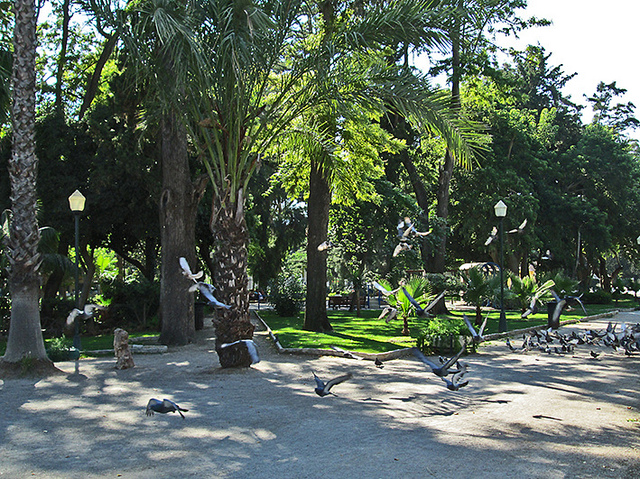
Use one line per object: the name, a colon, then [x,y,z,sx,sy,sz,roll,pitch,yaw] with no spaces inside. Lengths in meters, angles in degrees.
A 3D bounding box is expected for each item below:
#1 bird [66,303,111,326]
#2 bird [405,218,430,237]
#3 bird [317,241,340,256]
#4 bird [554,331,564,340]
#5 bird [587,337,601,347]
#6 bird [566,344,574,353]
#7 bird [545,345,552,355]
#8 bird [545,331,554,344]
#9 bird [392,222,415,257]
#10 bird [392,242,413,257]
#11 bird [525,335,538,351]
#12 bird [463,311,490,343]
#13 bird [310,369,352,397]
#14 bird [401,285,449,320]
bird: [-8.355,2.736,24.894,1.208,0.465,0.803,-21,-15,-38]
bird: [4.312,-0.556,30.793,0.351,1.030,0.934,-42,15,-11]
bird: [0.163,0.283,25.003,0.744,0.530,0.332,-17,23,-42]
bird: [8.497,3.416,24.690,0.331,0.294,0.831,19,0,13]
bird: [9.239,3.458,23.419,0.345,0.256,0.242,-3,1,-1]
bird: [7.919,3.469,22.010,0.255,0.295,0.087,1,-6,30]
bird: [7.317,3.578,22.279,0.161,0.349,0.145,-3,2,24]
bird: [7.668,3.300,23.464,0.172,0.412,0.309,-31,-18,33]
bird: [3.493,-0.057,29.345,0.464,1.258,1.282,29,-19,27]
bird: [3.525,0.419,29.721,0.413,0.728,1.215,-2,5,29]
bird: [6.914,3.526,22.891,0.402,0.241,0.383,-15,43,-26]
bird: [5.478,3.095,24.273,1.033,1.126,0.769,2,42,16]
bird: [0.195,3.344,15.709,0.677,0.545,1.130,-4,-9,26]
bird: [2.507,1.657,17.056,0.908,0.734,1.236,-13,14,-2]
